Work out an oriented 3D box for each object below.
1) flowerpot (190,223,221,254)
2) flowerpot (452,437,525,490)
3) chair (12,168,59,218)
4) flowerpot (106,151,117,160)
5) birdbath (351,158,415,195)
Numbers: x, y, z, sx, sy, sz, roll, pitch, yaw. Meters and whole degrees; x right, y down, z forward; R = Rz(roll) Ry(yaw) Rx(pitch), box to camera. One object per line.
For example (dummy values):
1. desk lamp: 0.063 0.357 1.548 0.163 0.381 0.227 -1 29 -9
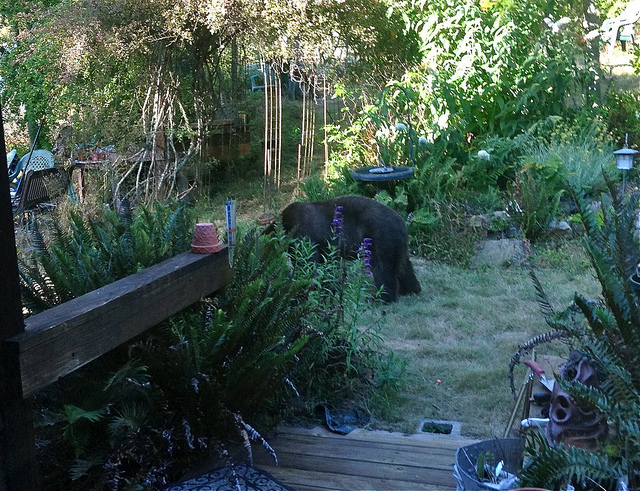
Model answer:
1. flowerpot: -0.731 -0.036 3.511 0.171 0.181 0.175 3 9 36
2. flowerpot: 0.764 1.033 2.600 0.291 0.217 0.260 -21 21 -37
3. chair: -4.590 -0.845 8.959 0.658 1.037 0.335 5 6 -20
4. flowerpot: -3.661 -1.571 9.672 0.231 0.125 0.055 3 6 31
5. birdbath: 0.842 -0.840 7.555 0.791 0.626 0.661 -6 15 -27
